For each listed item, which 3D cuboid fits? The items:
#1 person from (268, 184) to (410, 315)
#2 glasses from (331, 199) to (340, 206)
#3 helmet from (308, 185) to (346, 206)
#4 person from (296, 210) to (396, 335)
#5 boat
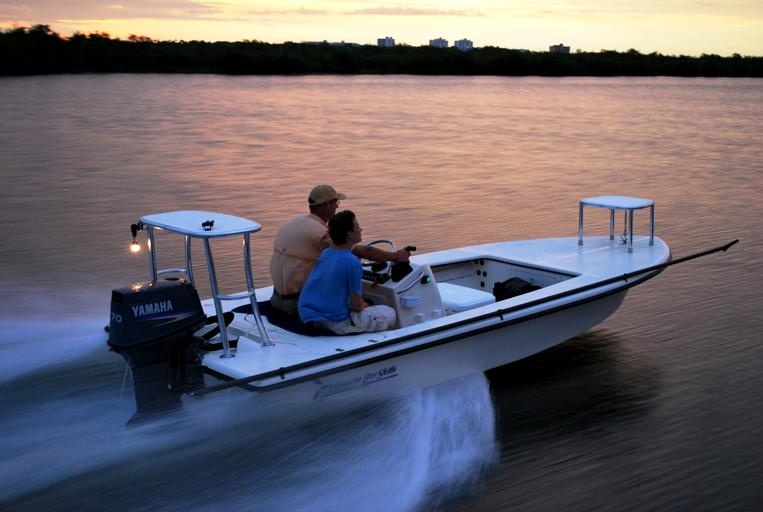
[{"bbox_3d":[-0.370,0.134,6.296,1.217,0.961,0.960,5,8,-15],"label":"person"},{"bbox_3d":[-0.435,-0.559,6.368,0.068,0.032,0.073,-2,3,-10],"label":"glasses"},{"bbox_3d":[-0.478,-0.627,6.344,0.375,0.105,0.202,-6,15,-27],"label":"helmet"},{"bbox_3d":[-0.323,0.145,6.026,0.865,1.204,0.344,-11,20,-24],"label":"person"},{"bbox_3d":[1.037,0.326,7.653,7.875,1.939,2.114,-9,29,-27],"label":"boat"}]
